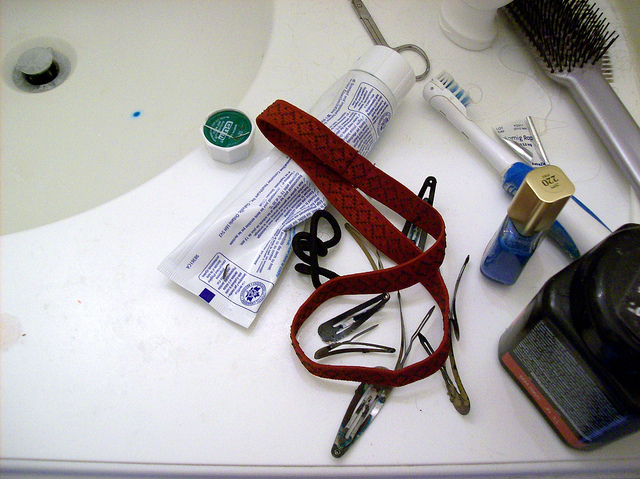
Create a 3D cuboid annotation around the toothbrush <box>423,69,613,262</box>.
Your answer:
[{"bbox_3d":[0.289,-0.098,0.899,0.063,0.047,0.327,-30,64,-18],"label":"toothbrush"}]

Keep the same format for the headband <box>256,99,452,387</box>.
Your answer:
[{"bbox_3d":[0.032,0.035,0.953,0.223,0.094,0.414,-31,78,-11],"label":"headband"}]

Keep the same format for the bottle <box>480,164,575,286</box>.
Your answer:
[{"bbox_3d":[0.267,-0.009,0.824,0.067,0.210,0.054,31,59,18],"label":"bottle"}]

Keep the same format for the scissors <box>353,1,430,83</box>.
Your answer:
[{"bbox_3d":[0.119,-0.318,0.992,0.076,0.007,0.162,-29,67,-18],"label":"scissors"}]
